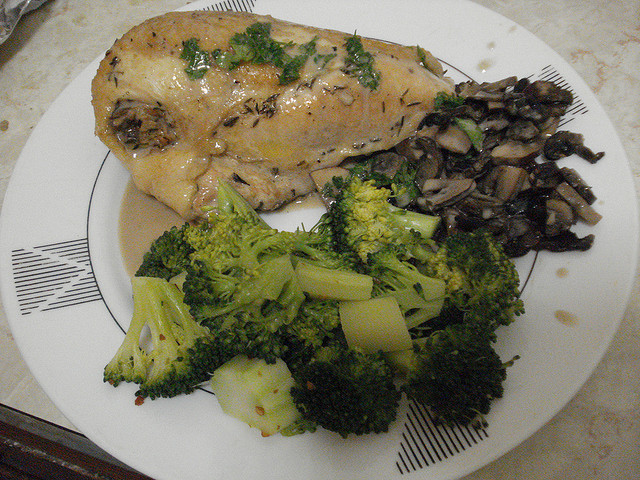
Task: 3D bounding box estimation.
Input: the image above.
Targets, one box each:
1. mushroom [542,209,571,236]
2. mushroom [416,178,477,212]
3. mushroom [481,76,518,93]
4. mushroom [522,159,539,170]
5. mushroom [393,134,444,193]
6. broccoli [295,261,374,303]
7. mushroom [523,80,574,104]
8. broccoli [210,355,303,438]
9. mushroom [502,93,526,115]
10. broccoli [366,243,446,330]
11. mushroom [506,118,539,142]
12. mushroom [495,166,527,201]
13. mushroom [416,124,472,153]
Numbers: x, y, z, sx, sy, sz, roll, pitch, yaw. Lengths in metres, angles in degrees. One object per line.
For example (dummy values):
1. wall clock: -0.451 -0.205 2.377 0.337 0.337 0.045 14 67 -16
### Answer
1. mushroom: 1.582 -0.113 4.342 0.152 0.064 0.179 14 83 3
2. mushroom: 0.881 -0.320 4.490 0.307 0.071 0.211 -20 73 15
3. mushroom: 1.274 -1.106 4.589 0.248 0.126 0.069 -32 101 -2
4. mushroom: 1.447 -0.527 4.471 0.072 0.021 0.074 -41 52 -13
5. mushroom: 0.714 -0.584 4.515 0.357 0.105 0.363 46 128 22
6. broccoli: 0.112 0.265 4.128 0.441 0.169 0.166 8 117 8
7. mushroom: 1.592 -1.035 4.528 0.348 0.107 0.167 -3 83 1
8. broccoli: -0.406 0.981 4.228 0.509 0.165 0.546 -36 95 5
9. mushroom: 1.347 -0.954 4.481 0.172 0.070 0.157 -16 83 -1
10. broccoli: 0.534 0.280 4.132 0.517 0.161 0.538 6 71 -3
11. mushroom: 1.393 -0.764 4.466 0.159 0.048 0.166 6 75 12
12. mushroom: 1.296 -0.388 4.411 0.179 0.077 0.239 14 83 3
13. mushroom: 0.875 -0.742 4.532 0.368 0.130 0.172 30 84 5
